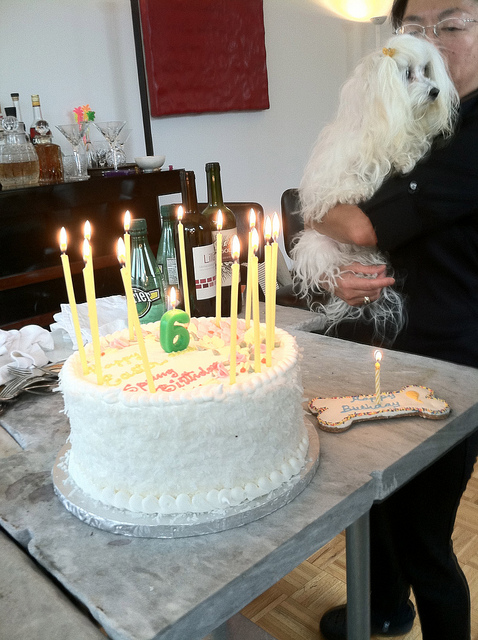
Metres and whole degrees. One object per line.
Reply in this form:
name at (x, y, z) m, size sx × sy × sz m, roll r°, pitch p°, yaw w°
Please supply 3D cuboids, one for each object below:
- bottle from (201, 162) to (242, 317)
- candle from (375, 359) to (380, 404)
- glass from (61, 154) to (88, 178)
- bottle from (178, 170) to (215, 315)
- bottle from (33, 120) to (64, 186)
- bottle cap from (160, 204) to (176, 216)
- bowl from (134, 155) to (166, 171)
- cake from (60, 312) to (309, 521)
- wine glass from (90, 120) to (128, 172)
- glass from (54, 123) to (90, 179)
bottle at (-0.044, -0.161, 1.219) m, size 0.105 × 0.378 × 0.106 m, roll 0°, pitch 28°, yaw 0°
candle at (0.220, 0.100, 0.830) m, size 0.007 × 0.065 × 0.024 m, roll -3°, pitch 15°, yaw 13°
glass at (-0.811, -0.747, 2.576) m, size 0.113 × 0.111 × 0.120 m, roll -2°, pitch 10°, yaw -6°
bottle at (-0.085, -0.154, 1.099) m, size 0.064 × 0.301 × 0.074 m, roll -6°, pitch 15°, yaw 2°
bottle at (-0.846, -0.757, 2.394) m, size 0.117 × 0.286 × 0.151 m, roll -11°, pitch 26°, yaw -22°
bottle cap at (-0.148, -0.231, 1.090) m, size 0.028 × 0.023 × 0.027 m, roll 3°, pitch 29°, yaw 2°
bowl at (-0.478, -0.835, 2.803) m, size 0.137 × 0.080 × 0.129 m, roll -5°, pitch 14°, yaw 1°
cake at (-0.073, 0.077, 0.724) m, size 0.344 × 0.195 × 0.331 m, roll -9°, pitch 23°, yaw -12°
wine glass at (-0.657, -0.886, 2.680) m, size 0.157 × 0.262 × 0.227 m, roll -9°, pitch 15°, yaw -11°
glass at (-0.793, -0.804, 2.531) m, size 0.118 × 0.268 × 0.154 m, roll -9°, pitch 22°, yaw -23°
